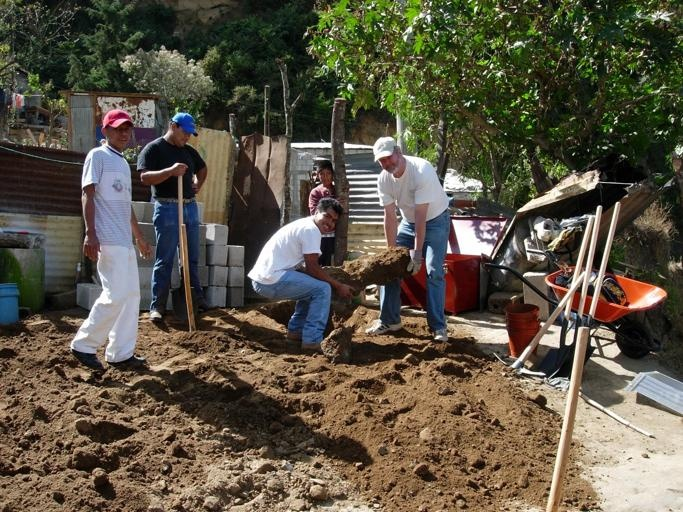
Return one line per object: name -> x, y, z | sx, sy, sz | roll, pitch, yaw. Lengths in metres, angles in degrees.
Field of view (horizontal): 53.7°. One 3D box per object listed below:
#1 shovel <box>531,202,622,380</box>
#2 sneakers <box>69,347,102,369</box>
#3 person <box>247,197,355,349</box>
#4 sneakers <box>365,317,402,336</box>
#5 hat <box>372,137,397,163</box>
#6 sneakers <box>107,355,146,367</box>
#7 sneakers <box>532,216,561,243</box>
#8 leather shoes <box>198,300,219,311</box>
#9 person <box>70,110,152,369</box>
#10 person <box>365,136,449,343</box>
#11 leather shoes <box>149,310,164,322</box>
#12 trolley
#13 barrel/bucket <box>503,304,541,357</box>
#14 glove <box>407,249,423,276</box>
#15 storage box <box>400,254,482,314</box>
shovel -> 2.751, 0.433, 7.905 | 0.789, 1.908, 1.093 | 14, -21, 50
sneakers -> -2.560, 1.024, 6.796 | 0.354, 0.184, 0.120 | 5, 7, 23
person -> -0.461, 0.162, 7.646 | 1.050, 1.719, 0.298 | 4, 7, 10
sneakers -> 0.524, 0.892, 8.605 | 0.507, 0.230, 0.187 | 1, 2, -2
hat -> 0.519, -1.285, 7.698 | 0.210, 0.186, 0.330 | -22, 20, 31
sneakers -> -2.217, 1.079, 6.960 | 0.362, 0.166, 0.135 | -5, 13, -12
sneakers -> 2.520, -0.377, 8.275 | 0.231, 0.334, 0.158 | 27, -13, 4
leather shoes -> -1.817, 0.660, 9.257 | 0.326, 0.148, 0.101 | -2, 23, -19
person -> -2.367, -0.209, 6.882 | 0.695, 2.636, 0.686 | 0, 7, -19
person -> 0.870, -0.207, 8.052 | 0.955, 2.392, 0.830 | 3, 7, 6
leather shoes -> -2.335, 0.739, 8.500 | 0.115, 0.121, 0.276 | 1, -6, -17
trolley -> 2.876, 0.568, 8.263 | 0.924, 0.885, 2.062 | -17, 22, -36
barrel/bucket -> 2.126, 0.838, 7.854 | 0.381, 0.488, 0.393 | -3, 15, 1
glove -> 0.865, 0.048, 7.933 | 0.184, 0.224, 0.245 | -3, 2, 1
storage box -> 1.575, 0.422, 10.201 | 0.675, 0.752, 1.093 | -1, 1, -27
